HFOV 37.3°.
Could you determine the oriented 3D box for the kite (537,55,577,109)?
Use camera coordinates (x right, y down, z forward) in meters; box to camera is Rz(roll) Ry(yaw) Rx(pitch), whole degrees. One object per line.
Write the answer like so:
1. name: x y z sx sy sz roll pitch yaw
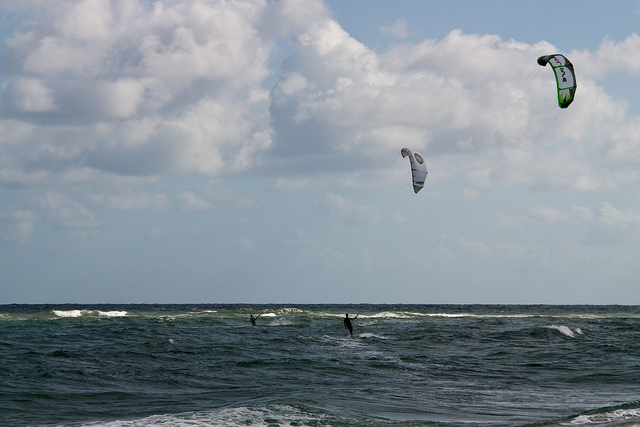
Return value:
1. kite: 13.566 -7.428 52.740 1.256 2.601 2.963 2 27 -5
